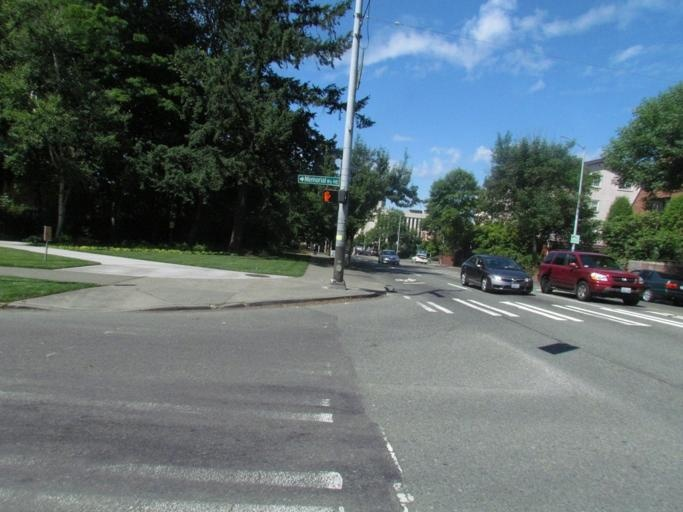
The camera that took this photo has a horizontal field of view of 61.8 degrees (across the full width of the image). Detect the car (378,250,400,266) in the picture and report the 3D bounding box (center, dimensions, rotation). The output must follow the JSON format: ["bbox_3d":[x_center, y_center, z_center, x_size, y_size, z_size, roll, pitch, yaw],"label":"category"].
[{"bbox_3d":[4.698,0.352,55.498,1.099,1.079,2.016,1,-5,-15],"label":"car"}]

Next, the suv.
[{"bbox_3d":[9.522,0.865,22.011,1.794,1.629,3.865,2,-3,-10],"label":"suv"}]

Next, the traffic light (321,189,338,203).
[{"bbox_3d":[-0.419,-1.996,19.379,0.658,0.439,0.381,7,8,24],"label":"traffic light"}]

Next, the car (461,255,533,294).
[{"bbox_3d":[6.249,0.736,23.486,1.263,1.070,3.183,2,-4,-7],"label":"car"}]
